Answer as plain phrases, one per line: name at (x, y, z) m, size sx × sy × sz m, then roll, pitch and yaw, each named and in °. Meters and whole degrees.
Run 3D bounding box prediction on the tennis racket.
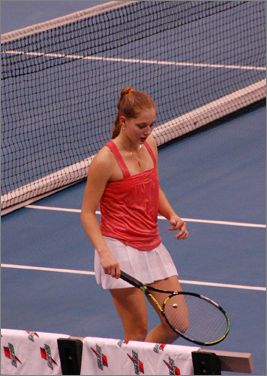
tennis racket at (0.243, 0.639, 2.285) m, size 0.550 × 0.363 × 0.495 m, roll -4°, pitch -14°, yaw 16°
